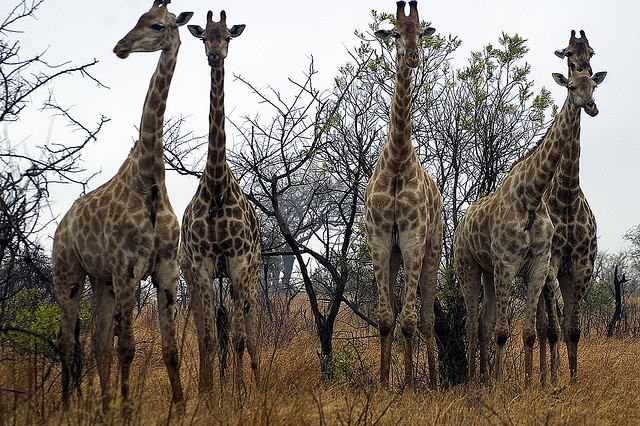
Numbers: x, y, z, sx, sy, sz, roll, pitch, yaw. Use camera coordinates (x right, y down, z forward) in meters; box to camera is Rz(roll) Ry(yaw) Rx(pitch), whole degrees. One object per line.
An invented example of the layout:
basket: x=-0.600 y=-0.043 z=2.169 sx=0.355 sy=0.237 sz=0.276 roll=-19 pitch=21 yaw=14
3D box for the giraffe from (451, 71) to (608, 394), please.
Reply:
giraffe: x=3.513 y=0.436 z=12.685 sx=1.934 sy=5.350 sz=3.159 roll=-2 pitch=-13 yaw=2

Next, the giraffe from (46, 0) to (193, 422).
giraffe: x=-3.150 y=-0.089 z=11.442 sx=2.059 sy=6.617 sz=2.688 roll=3 pitch=-14 yaw=-22

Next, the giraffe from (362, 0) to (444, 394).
giraffe: x=1.416 y=-0.433 z=12.113 sx=1.324 sy=6.833 sz=3.796 roll=-3 pitch=-13 yaw=6
